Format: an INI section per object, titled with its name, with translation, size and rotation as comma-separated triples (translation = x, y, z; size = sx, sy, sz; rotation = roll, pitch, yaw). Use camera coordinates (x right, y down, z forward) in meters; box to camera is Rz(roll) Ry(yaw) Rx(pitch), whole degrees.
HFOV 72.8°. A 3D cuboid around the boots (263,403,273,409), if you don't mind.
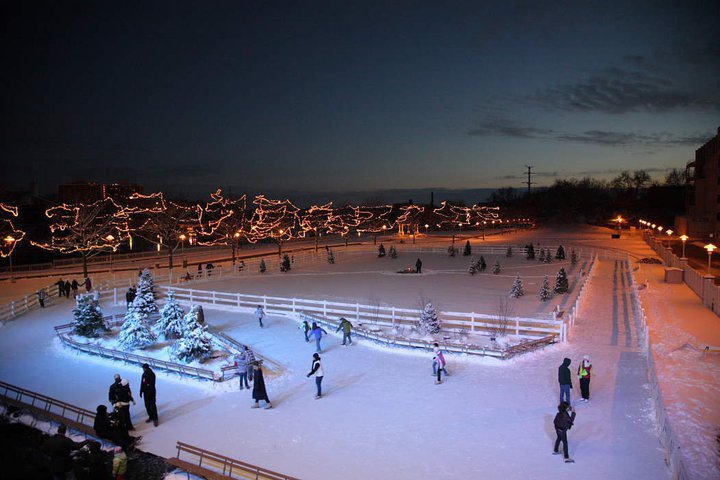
[boots]
translation = -3.155, 5.645, 16.700
size = 0.265, 0.257, 0.127
rotation = 2, 0, 6
